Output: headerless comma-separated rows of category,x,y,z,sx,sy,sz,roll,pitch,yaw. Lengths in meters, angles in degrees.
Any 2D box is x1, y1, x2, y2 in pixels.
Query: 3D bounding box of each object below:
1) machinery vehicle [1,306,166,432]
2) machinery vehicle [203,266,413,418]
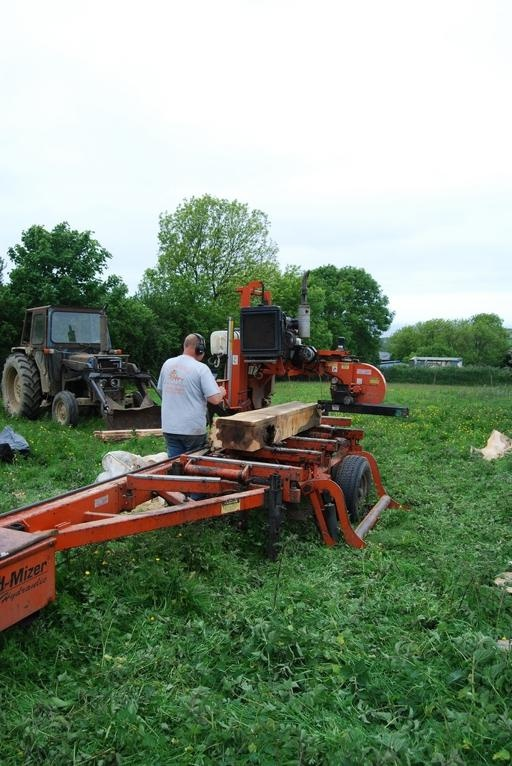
machinery vehicle,-3.243,-0.372,11.268,3.643,2.206,1.866,2,4,43
machinery vehicle,0.513,-0.360,6.352,2.513,1.741,1.034,4,8,36
